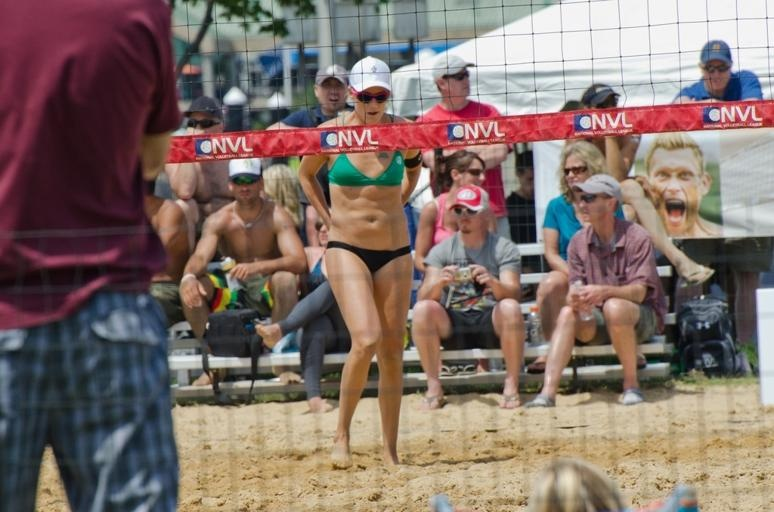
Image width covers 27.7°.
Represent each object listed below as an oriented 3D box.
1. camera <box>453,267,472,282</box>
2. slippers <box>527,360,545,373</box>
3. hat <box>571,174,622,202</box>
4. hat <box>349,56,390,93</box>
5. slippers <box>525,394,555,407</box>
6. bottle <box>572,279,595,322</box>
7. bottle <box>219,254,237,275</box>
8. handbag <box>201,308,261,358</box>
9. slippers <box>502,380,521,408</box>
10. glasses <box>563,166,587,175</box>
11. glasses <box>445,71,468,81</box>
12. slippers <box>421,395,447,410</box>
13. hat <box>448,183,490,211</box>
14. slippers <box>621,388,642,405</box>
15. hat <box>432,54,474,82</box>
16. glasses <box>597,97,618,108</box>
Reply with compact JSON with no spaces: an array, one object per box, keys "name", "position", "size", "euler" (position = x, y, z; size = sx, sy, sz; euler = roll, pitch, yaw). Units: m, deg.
[{"name":"camera","position":[0.614,0.145,12.908],"size":[0.172,0.156,0.102],"euler":[-1,2,3]},{"name":"slippers","position":[1.252,0.929,13.212],"size":[0.178,0.074,0.065],"euler":[2,3,4]},{"name":"hat","position":[1.750,-0.567,13.012],"size":[0.317,0.157,0.206],"euler":[8,1,-12]},{"name":"hat","position":[-0.136,-1.404,12.053],"size":[0.312,0.275,0.243],"euler":[-3,0,-4]},{"name":"slippers","position":[1.232,1.160,12.770],"size":[0.185,0.077,0.104],"euler":[1,-1,-1]},{"name":"bottle","position":[1.590,0.356,12.875],"size":[0.164,0.326,0.162],"euler":[-3,0,0]},{"name":"bottle","position":[-1.362,0.060,13.417],"size":[0.106,0.128,0.144],"euler":[2,41,-1]},{"name":"handbag","position":[-1.296,0.630,13.142],"size":[0.389,0.290,0.398],"euler":[0,1,6]},{"name":"slippers","position":[1.006,1.124,12.843],"size":[0.180,0.259,0.566],"euler":[0,-3,4]},{"name":"glasses","position":[1.626,-0.755,13.602],"size":[0.098,0.034,0.099],"euler":[-7,-12,40]},{"name":"glasses","position":[0.639,-1.628,14.119],"size":[0.108,0.054,0.128],"euler":[-3,-3,-25]},{"name":"slippers","position":[0.415,1.190,12.996],"size":[0.122,0.118,0.266],"euler":[-3,1,39]},{"name":"hat","position":[0.682,-0.484,13.062],"size":[0.302,0.224,0.197],"euler":[-3,0,3]},{"name":"slippers","position":[1.987,1.132,12.801],"size":[0.187,0.126,0.123],"euler":[-3,0,4]},{"name":"hat","position":[0.536,-1.727,14.276],"size":[0.378,0.195,0.251],"euler":[-9,-1,43]},{"name":"glasses","position":[1.984,-1.400,14.176],"size":[0.110,0.055,0.162],"euler":[-8,-9,-1]}]
